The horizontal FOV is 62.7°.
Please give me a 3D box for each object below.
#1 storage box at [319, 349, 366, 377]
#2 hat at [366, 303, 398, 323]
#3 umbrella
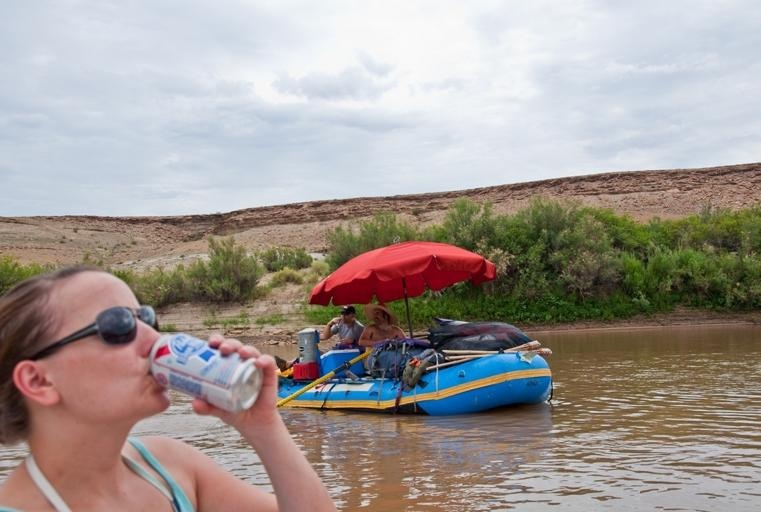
[{"bbox_3d":[-0.591,2.005,11.993,0.566,0.422,0.576,-6,-7,41],"label":"storage box"},{"bbox_3d":[0.000,1.094,12.057,0.402,0.115,0.400,36,-37,-22],"label":"hat"},{"bbox_3d":[0.306,0.620,12.166,2.733,1.773,3.079,-3,1,-5],"label":"umbrella"}]
